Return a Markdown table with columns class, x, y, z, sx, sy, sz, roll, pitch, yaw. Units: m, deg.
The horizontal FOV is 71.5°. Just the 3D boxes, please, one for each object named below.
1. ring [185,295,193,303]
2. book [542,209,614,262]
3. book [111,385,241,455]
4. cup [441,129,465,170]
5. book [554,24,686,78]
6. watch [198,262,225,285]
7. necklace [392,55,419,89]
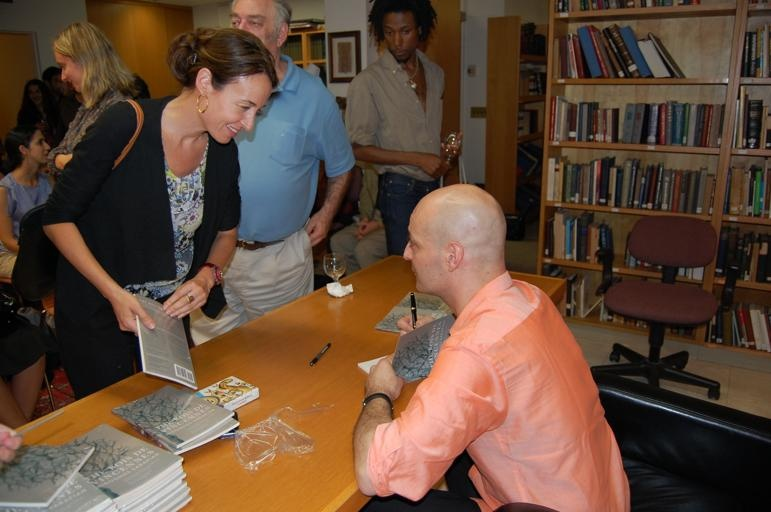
| class | x | y | z | sx | sy | sz | roll | pitch | yaw |
| --- | --- | --- | --- | --- | --- | --- | --- | --- | --- |
| ring | -0.785 | 0.171 | 2.137 | 0.006 | 0.023 | 0.024 | 2 | -1 | 33 |
| book | 1.649 | -0.230 | 4.645 | 0.424 | 0.528 | 0.517 | 4 | 9 | 33 |
| book | -0.726 | 0.555 | 1.845 | 0.280 | 0.043 | 0.214 | 17 | 27 | 32 |
| cup | 0.482 | -0.772 | 3.854 | 0.136 | 0.308 | 0.295 | 4 | -1 | 13 |
| book | 1.831 | -1.610 | 4.231 | 0.941 | 0.409 | 0.151 | 12 | 21 | 23 |
| watch | -0.776 | 0.082 | 2.362 | 0.053 | 0.102 | 0.080 | -27 | -9 | 7 |
| necklace | 0.142 | -1.331 | 3.897 | 0.077 | 0.210 | 0.145 | -9 | 5 | 42 |
